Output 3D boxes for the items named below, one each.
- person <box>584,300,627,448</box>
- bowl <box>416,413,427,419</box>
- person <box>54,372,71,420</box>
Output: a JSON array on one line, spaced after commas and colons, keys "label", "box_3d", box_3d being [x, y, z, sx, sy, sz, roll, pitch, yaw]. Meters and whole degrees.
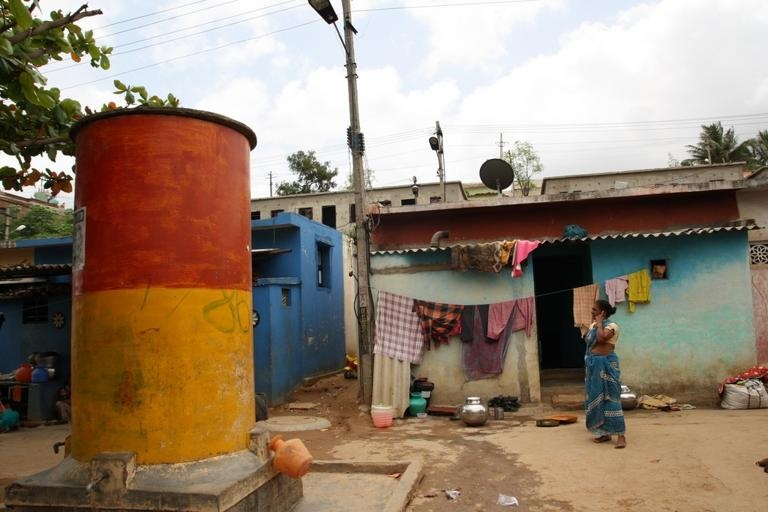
[{"label": "person", "box_3d": [3.743, 1.968, 11.995, 0.748, 2.399, 0.645, 1, 7, 36]}, {"label": "bowl", "box_3d": [0.778, 3.292, 14.827, 0.220, 0.081, 0.144, -3, 4, 3]}, {"label": "person", "box_3d": [-7.445, 3.345, 16.421, 0.325, 0.781, 0.893, -6, 5, -26]}]
